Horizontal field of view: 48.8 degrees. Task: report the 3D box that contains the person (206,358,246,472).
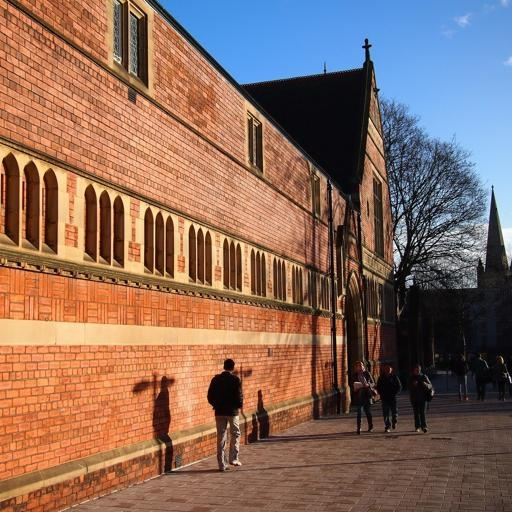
[{"bbox_3d":[-0.487,2.471,8.958,0.447,1.959,0.447,0,11,-3],"label":"person"}]
